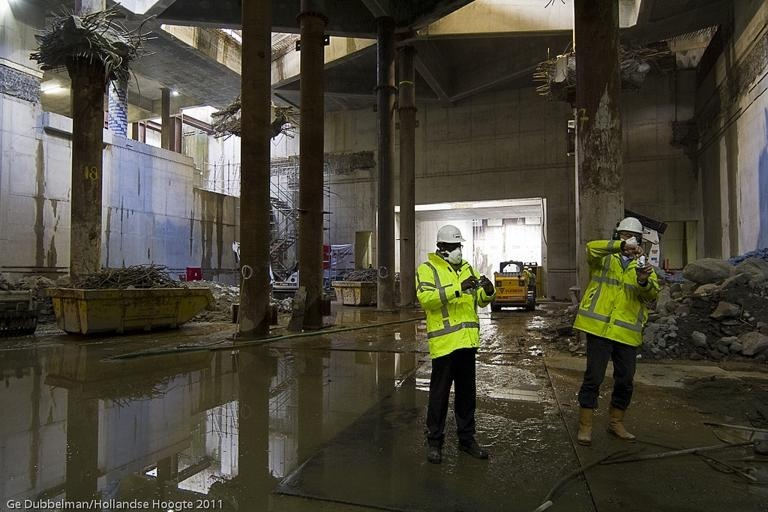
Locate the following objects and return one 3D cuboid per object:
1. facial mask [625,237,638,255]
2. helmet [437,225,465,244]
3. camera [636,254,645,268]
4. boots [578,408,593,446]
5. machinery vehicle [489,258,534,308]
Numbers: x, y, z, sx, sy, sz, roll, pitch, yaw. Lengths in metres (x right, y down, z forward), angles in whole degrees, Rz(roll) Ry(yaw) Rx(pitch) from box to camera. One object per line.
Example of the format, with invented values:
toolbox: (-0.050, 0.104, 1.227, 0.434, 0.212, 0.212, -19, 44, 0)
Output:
facial mask: (4.168, -0.181, 9.676, 0.191, 0.269, 0.093, 4, 0, 1)
helmet: (1.081, -0.347, 9.546, 0.350, 0.198, 0.322, -4, -3, 34)
camera: (4.329, 0.080, 9.681, 0.119, 0.188, 0.285, -3, -2, 25)
boots: (3.376, 2.861, 9.632, 0.217, 0.587, 0.588, 4, 13, 19)
machinery vehicle: (5.160, 1.158, 23.763, 1.868, 2.314, 3.380, -1, -4, 9)
